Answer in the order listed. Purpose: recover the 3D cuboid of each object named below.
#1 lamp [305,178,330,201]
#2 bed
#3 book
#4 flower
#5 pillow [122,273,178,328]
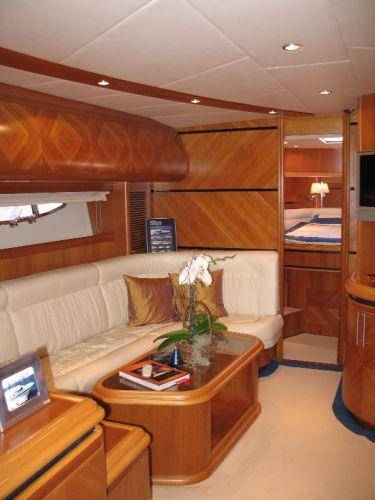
[{"bbox_3d":[2.256,-1.039,6.664,0.277,0.311,0.344,-3,4,7],"label":"lamp"},{"bbox_3d":[1.715,-0.367,5.459,0.839,0.469,3.046,2,6,21],"label":"bed"},{"bbox_3d":[-0.196,0.641,1.963,0.225,0.029,0.161,5,7,42],"label":"book"},{"bbox_3d":[0.020,0.275,2.229,0.576,0.567,0.409,0,0,-31],"label":"flower"},{"bbox_3d":[-0.308,0.426,3.084,0.413,0.305,0.177,-5,11,-22],"label":"pillow"}]
